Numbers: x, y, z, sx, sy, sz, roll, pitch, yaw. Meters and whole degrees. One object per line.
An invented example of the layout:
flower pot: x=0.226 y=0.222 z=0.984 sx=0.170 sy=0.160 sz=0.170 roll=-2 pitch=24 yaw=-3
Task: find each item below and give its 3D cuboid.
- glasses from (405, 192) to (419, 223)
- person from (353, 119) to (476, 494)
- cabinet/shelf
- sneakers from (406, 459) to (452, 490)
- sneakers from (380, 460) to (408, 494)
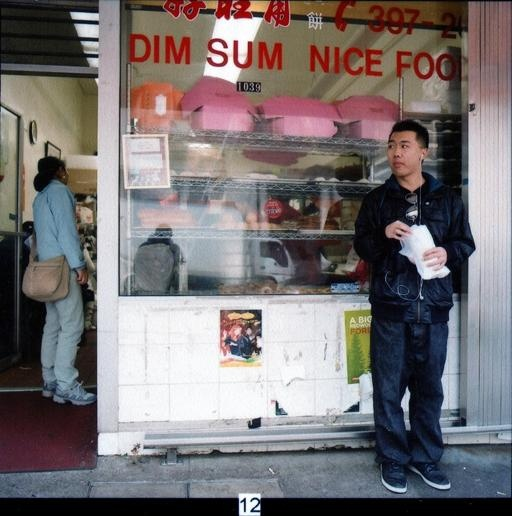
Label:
glasses: x=0.857 y=-0.274 z=3.218 sx=0.070 sy=0.164 sz=0.077 roll=1 pitch=6 yaw=9
person: x=0.897 y=0.235 z=3.294 sx=0.536 sy=1.990 sz=0.544 roll=-2 pitch=6 yaw=-22
cabinet/shelf: x=-0.004 y=-0.365 z=3.756 sx=1.659 sy=0.618 sz=0.317 roll=3 pitch=-7 yaw=-8
sneakers: x=0.966 y=1.205 z=3.249 sx=0.080 sy=0.088 sz=0.219 roll=-3 pitch=-3 yaw=-24
sneakers: x=0.750 y=1.182 z=3.206 sx=0.125 sy=0.113 sz=0.214 roll=1 pitch=7 yaw=2
